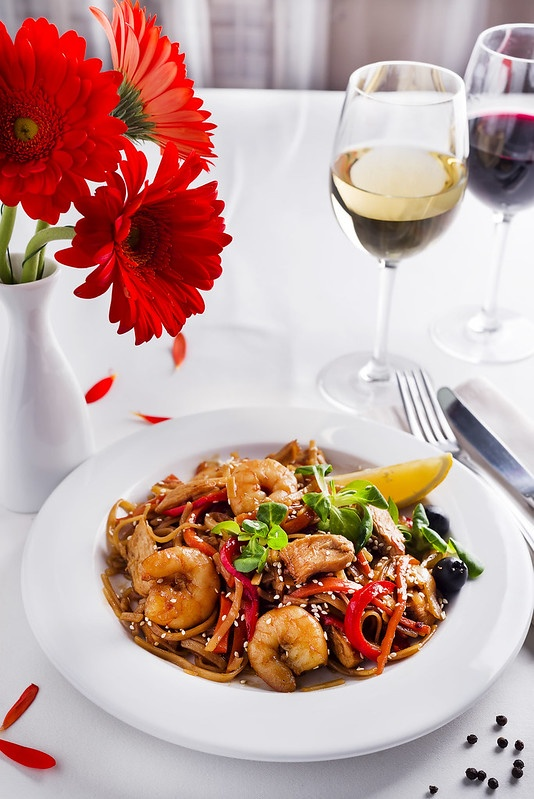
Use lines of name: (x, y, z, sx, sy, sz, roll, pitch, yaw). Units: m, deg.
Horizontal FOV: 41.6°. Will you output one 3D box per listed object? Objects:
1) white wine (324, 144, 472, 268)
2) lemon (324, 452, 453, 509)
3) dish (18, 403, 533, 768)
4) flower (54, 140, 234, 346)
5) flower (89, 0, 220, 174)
white wine: (0.221, -0.338, 1.219, 0.200, 0.167, 0.190, -1, 50, -2)
lemon: (0.178, 0.117, 1.022, 0.196, 0.061, 0.044, -17, 33, 35)
dish: (0.014, 0.183, 0.902, 0.617, 0.080, 0.606, -7, 33, -9)
flower: (-0.116, -0.179, 0.731, 0.128, 0.178, 0.209, -30, 42, -27)
flower: (-0.150, -0.327, 0.794, 0.157, 0.182, 0.100, 5, 14, -33)
